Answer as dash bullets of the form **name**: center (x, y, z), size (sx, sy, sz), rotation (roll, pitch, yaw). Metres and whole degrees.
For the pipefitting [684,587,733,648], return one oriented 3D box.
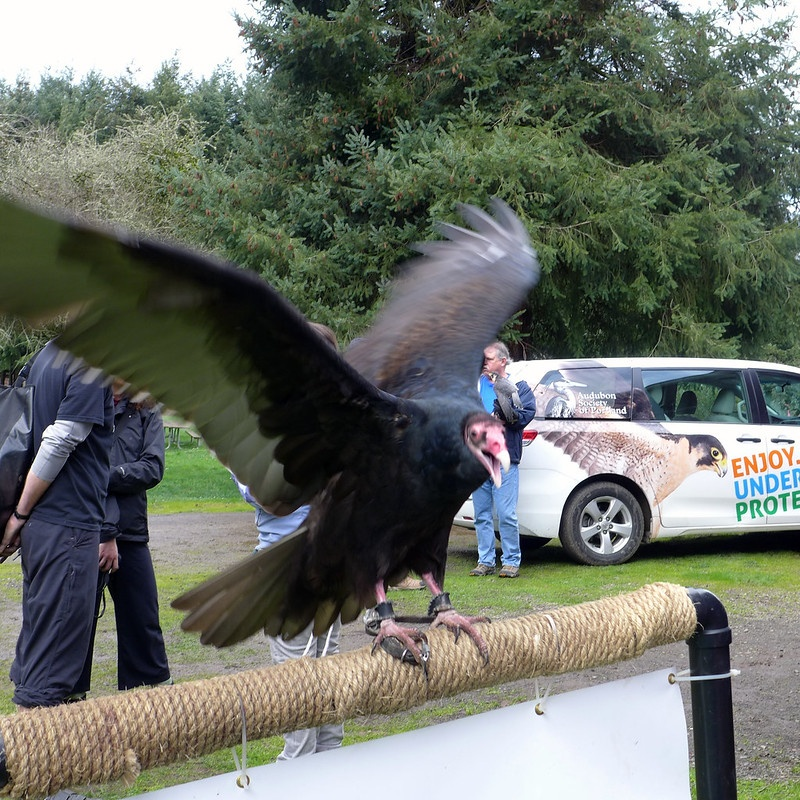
- **pipefitting**: center (0.746, 0.529, 2.609), size (0.118, 0.182, 0.094), rotation (1, -7, 9)

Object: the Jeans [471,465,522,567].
- **Jeans**: center (0.687, 0.791, 7.658), size (0.352, 0.874, 0.234), rotation (-6, -12, 37)

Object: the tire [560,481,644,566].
- **tire**: center (1.481, 0.869, 7.775), size (0.451, 0.503, 0.156), rotation (-15, 20, -9)

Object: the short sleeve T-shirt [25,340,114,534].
- **short sleeve T-shirt**: center (-1.226, 0.100, 4.025), size (0.250, 0.722, 0.476), rotation (5, 0, -36)

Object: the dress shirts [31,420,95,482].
- **dress shirts**: center (-1.218, 0.130, 3.820), size (0.080, 0.294, 0.095), rotation (3, 30, -50)
